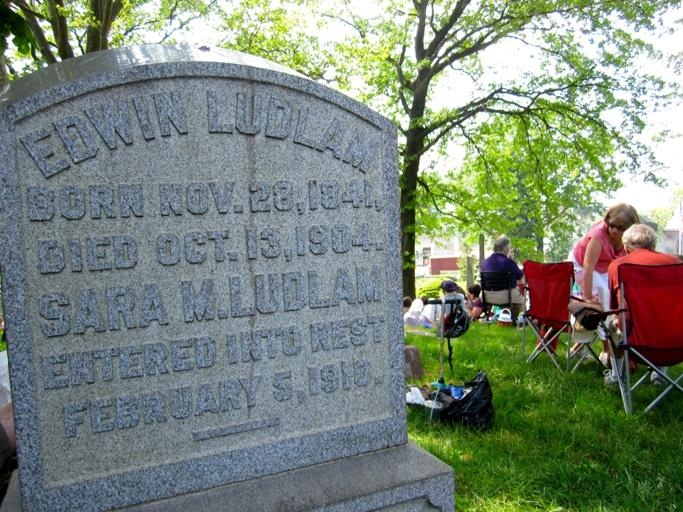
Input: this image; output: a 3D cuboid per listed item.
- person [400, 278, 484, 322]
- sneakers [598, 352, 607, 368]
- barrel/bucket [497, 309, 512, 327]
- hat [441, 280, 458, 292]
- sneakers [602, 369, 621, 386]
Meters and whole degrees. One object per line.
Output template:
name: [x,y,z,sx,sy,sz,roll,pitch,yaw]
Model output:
person: [1.784,0.791,10.964,1.160,0.833,0.772,1,-10,-12]
sneakers: [3.004,1.178,6.977,0.127,0.137,0.110,-5,8,8]
barrel/bucket: [2.932,1.112,10.918,0.224,0.253,0.238,0,3,0]
hat: [1.260,0.353,7.108,0.159,0.141,0.373,1,-3,15]
sneakers: [2.831,1.256,6.416,0.117,0.157,0.332,0,1,3]
